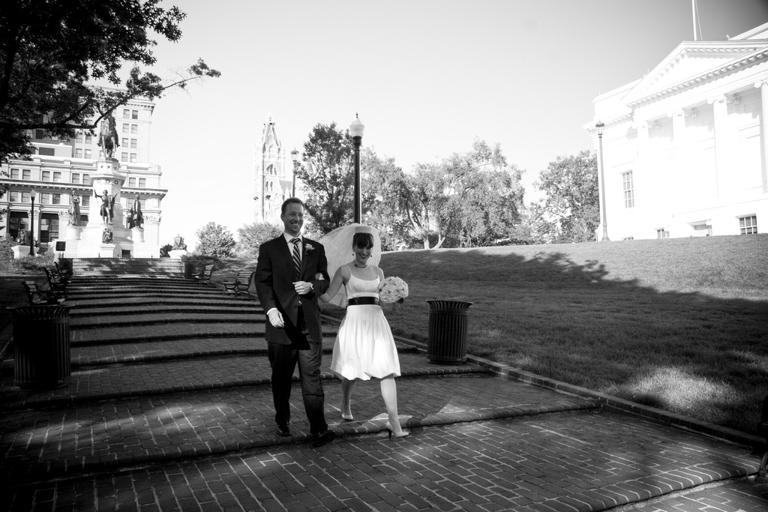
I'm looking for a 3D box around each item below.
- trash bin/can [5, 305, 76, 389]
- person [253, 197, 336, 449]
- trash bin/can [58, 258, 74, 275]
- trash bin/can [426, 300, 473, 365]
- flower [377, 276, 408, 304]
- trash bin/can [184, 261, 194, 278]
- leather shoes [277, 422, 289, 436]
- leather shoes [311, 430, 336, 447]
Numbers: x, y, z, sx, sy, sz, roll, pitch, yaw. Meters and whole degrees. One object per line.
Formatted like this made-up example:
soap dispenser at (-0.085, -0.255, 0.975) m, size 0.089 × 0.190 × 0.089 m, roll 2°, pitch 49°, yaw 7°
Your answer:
trash bin/can at (-6.753, 1.783, 10.788) m, size 1.137 × 1.550 × 1.162 m, roll -3°, pitch 0°, yaw 30°
person at (-1.477, 1.048, 8.861) m, size 1.207 × 3.908 × 0.809 m, roll 2°, pitch 11°, yaw 3°
trash bin/can at (-18.853, 0.620, 31.971) m, size 0.668 × 0.375 × 0.697 m, roll 10°, pitch -16°, yaw 15°
trash bin/can at (1.664, 1.916, 13.811) m, size 1.321 × 1.658 × 1.369 m, roll 1°, pitch -9°, yaw -3°
flower at (0.193, 0.603, 9.563) m, size 0.447 × 0.486 × 0.425 m, roll -4°, pitch -3°, yaw 32°
trash bin/can at (-12.859, 0.869, 35.635) m, size 0.626 × 0.713 × 3.336 m, roll -3°, pitch 12°, yaw -20°
leather shoes at (-1.672, 2.869, 8.963) m, size 0.249 × 0.258 × 0.137 m, roll -9°, pitch -9°, yaw 24°
leather shoes at (-1.017, 2.985, 8.894) m, size 0.451 × 0.200 × 0.164 m, roll 12°, pitch -17°, yaw -43°
